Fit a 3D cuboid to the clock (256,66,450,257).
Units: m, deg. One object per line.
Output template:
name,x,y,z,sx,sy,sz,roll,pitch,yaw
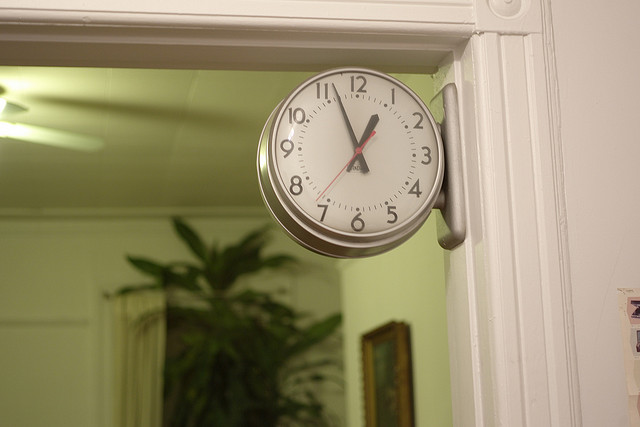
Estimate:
clock,0.090,-0.117,1.814,0.443,0.453,0.115,-2,-11,-9
